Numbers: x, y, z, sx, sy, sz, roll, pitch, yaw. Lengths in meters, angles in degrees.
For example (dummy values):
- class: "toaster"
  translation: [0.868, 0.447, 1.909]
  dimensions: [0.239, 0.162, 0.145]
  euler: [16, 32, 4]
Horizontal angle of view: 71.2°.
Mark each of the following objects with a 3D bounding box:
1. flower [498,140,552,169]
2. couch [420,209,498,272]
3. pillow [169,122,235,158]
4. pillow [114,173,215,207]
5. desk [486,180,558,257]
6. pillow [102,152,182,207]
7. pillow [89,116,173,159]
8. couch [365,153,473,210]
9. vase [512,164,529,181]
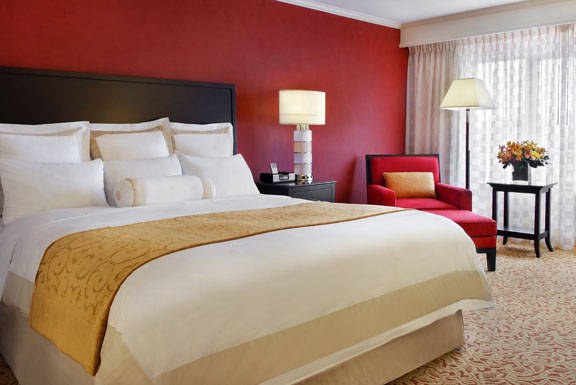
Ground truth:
- class: "flower"
  translation: [3.135, -0.491, 5.337]
  dimensions: [0.472, 0.329, 0.467]
  euler: [-1, 2, -34]
- class: "couch"
  translation: [1.983, 0.432, 4.594]
  dimensions: [0.677, 0.511, 1.004]
  euler: [1, -2, -39]
- class: "pillow"
  translation: [-0.966, -0.571, 4.400]
  dimensions: [0.516, 0.360, 0.077]
  euler: [3, -27, -38]
- class: "pillow"
  translation: [-1.027, 0.005, 3.588]
  dimensions: [0.288, 0.290, 0.923]
  euler: [-27, -18, 40]
- class: "desk"
  translation: [3.133, 0.293, 5.405]
  dimensions: [0.626, 0.873, 0.710]
  euler: [-6, 7, -33]
- class: "pillow"
  translation: [-1.302, -0.104, 3.538]
  dimensions: [0.444, 0.288, 0.136]
  euler: [-11, -17, -31]
- class: "pillow"
  translation: [-1.589, -0.535, 4.009]
  dimensions: [0.512, 0.364, 0.056]
  euler: [-10, -21, -35]
- class: "couch"
  translation: [1.736, -0.320, 5.503]
  dimensions: [1.093, 1.218, 0.898]
  euler: [0, -2, -9]
- class: "vase"
  translation: [3.090, -0.271, 5.328]
  dimensions: [0.203, 0.203, 0.204]
  euler: [0, 2, 36]
